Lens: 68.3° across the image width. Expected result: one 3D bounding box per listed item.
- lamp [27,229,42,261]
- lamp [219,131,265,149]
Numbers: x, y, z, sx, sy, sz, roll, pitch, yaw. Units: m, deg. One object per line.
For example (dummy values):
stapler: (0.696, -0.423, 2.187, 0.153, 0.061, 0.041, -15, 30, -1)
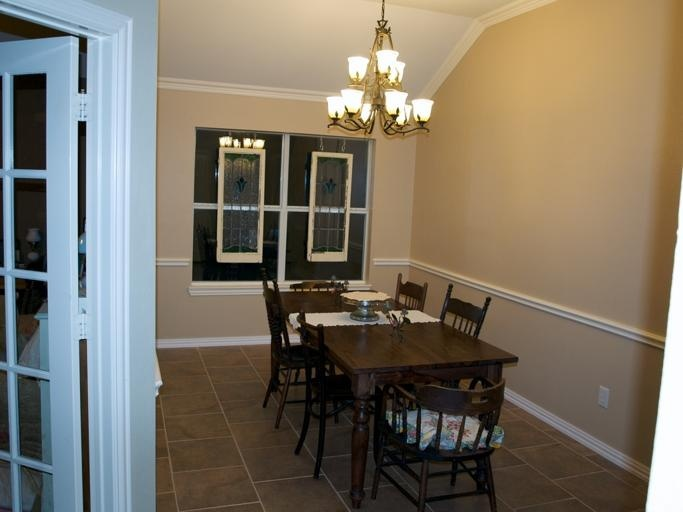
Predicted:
lamp: (-1.397, -0.056, 2.296, 0.089, 0.146, 0.025, 6, 10, 21)
lamp: (-1.087, -1.258, 5.507, 0.491, 0.159, 0.069, 0, 9, -16)
